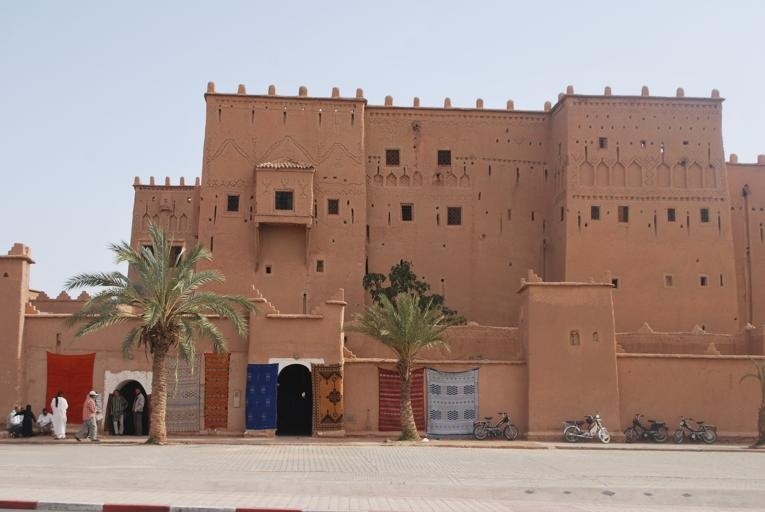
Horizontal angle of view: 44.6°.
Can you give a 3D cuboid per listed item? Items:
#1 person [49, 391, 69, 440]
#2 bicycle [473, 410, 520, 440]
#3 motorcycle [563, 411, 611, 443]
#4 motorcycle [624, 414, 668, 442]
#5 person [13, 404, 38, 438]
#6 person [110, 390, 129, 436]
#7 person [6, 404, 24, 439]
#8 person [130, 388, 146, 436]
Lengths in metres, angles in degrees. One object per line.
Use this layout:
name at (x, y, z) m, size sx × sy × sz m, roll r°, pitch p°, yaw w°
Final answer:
person at (-12.020, 5.877, 34.437) m, size 0.522 × 1.736 × 0.893 m, roll 4°, pitch -12°, yaw -21°
bicycle at (4.365, 6.637, 36.443) m, size 1.724 × 1.075 × 0.980 m, roll -1°, pitch -11°, yaw 5°
motorcycle at (7.822, 6.633, 36.023) m, size 1.763 × 1.145 × 0.943 m, roll -2°, pitch -11°, yaw 9°
motorcycle at (10.314, 6.784, 36.581) m, size 1.573 × 1.001 × 0.960 m, roll -1°, pitch -21°, yaw 9°
person at (-13.562, 6.244, 35.088) m, size 1.039 × 1.463 × 0.565 m, roll 0°, pitch -14°, yaw -13°
person at (-10.337, 6.076, 36.337) m, size 0.409 × 1.679 × 0.812 m, roll -4°, pitch -12°, yaw 18°
person at (-13.845, 6.183, 34.944) m, size 0.536 × 1.110 × 0.393 m, roll 4°, pitch -12°, yaw -21°
person at (-9.607, 6.113, 36.462) m, size 0.515 × 1.652 × 0.458 m, roll 0°, pitch -11°, yaw -3°
